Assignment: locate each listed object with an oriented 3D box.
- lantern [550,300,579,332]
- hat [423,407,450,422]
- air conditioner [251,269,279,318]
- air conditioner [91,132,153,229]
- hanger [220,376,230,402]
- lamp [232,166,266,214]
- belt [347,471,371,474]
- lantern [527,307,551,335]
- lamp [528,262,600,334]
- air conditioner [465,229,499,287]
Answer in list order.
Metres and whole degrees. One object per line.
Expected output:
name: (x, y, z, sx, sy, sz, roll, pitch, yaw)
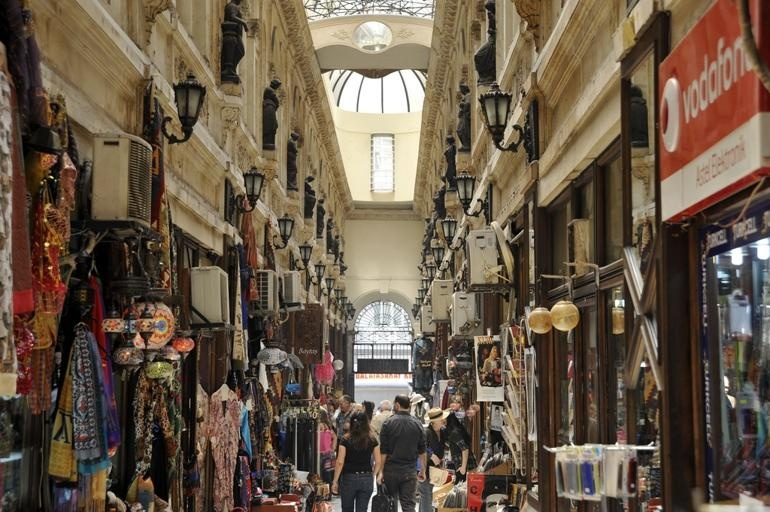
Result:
lantern: (1.549, 0.479, 8.775, 0.217, 0.330, 0.246, 0, -1, -13)
hat: (0.743, 2.239, 14.746, 0.246, 0.099, 0.237, -21, 6, 20)
air conditioner: (-1.813, 0.573, 15.218, 0.384, 0.851, 0.836, 0, -7, 0)
air conditioner: (-2.283, -0.510, 9.010, 0.395, 0.901, 0.652, -4, -26, -4)
hanger: (-2.030, 1.639, 12.909, 0.035, 0.379, 0.193, -6, -15, 25)
lamp: (-1.897, -0.983, 14.180, 0.349, 0.761, 0.247, -10, 24, -23)
belt: (-0.328, 2.784, 13.402, 0.268, 0.061, 0.037, 1, -15, -3)
lantern: (1.438, 0.565, 9.485, 0.219, 0.333, 0.249, 4, -3, -10)
lamp: (1.548, 0.365, 9.040, 0.675, 0.845, 0.440, -2, -7, 19)
air conditioner: (1.304, -0.223, 13.359, 0.373, 0.649, 0.854, 0, -50, 12)
